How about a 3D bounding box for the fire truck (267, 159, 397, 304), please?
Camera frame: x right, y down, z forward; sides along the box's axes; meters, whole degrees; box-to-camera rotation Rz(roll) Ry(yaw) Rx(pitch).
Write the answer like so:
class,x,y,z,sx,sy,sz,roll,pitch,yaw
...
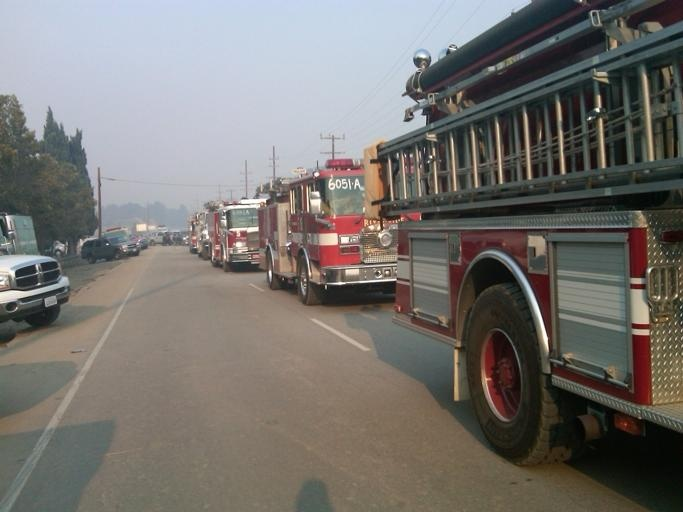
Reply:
class,x,y,z,sx,sy,sz,roll,pitch,yaw
fire truck,-0.784,-0.820,16.231,2.788,3.760,8.048,-5,4,-22
